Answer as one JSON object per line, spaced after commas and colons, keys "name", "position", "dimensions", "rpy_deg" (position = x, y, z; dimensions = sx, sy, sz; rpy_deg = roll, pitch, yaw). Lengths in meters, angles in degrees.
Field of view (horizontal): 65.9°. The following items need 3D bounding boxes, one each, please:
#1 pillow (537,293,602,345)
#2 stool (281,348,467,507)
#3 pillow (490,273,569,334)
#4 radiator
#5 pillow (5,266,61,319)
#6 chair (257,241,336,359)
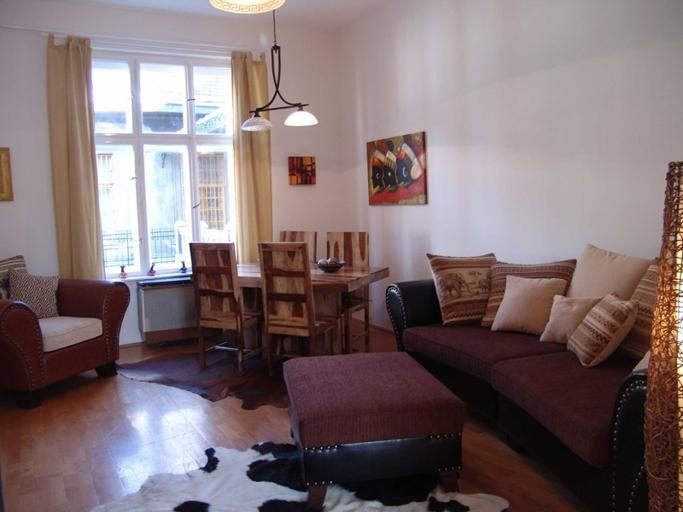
{"name": "pillow", "position": [1.503, 0.437, 3.486], "dimensions": [0.095, 0.304, 0.311], "rpy_deg": [20, 7, -4]}
{"name": "stool", "position": [0.175, 0.944, 2.944], "dimensions": [0.789, 0.551, 0.804], "rpy_deg": [-2, 5, -15]}
{"name": "pillow", "position": [1.308, 0.371, 3.748], "dimensions": [0.170, 0.423, 0.407], "rpy_deg": [33, -12, -36]}
{"name": "radiator", "position": [-1.814, 0.560, 5.494], "dimensions": [0.602, 0.626, 0.344], "rpy_deg": [-3, 5, -20]}
{"name": "pillow", "position": [-2.688, 0.341, 4.576], "dimensions": [0.155, 0.443, 0.394], "rpy_deg": [-21, -16, 40]}
{"name": "chair", "position": [-0.405, 0.409, 4.639], "dimensions": [0.615, 1.146, 0.493], "rpy_deg": [4, 13, 24]}
